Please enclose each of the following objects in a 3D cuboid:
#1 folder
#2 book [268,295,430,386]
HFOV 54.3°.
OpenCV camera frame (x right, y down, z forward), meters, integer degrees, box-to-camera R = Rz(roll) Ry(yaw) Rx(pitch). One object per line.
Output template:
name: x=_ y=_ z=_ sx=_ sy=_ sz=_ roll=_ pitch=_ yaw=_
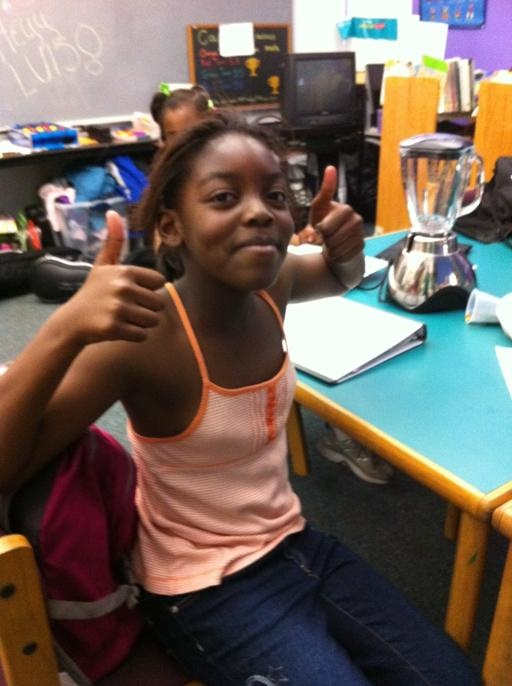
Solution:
folder: x=0.153 y=-0.011 z=0.961 sx=0.208 sy=0.034 sz=0.186 roll=-22 pitch=32 yaw=-27
book: x=0.162 y=-0.016 z=0.970 sx=0.208 sy=0.035 sz=0.188 roll=-22 pitch=31 yaw=-27
